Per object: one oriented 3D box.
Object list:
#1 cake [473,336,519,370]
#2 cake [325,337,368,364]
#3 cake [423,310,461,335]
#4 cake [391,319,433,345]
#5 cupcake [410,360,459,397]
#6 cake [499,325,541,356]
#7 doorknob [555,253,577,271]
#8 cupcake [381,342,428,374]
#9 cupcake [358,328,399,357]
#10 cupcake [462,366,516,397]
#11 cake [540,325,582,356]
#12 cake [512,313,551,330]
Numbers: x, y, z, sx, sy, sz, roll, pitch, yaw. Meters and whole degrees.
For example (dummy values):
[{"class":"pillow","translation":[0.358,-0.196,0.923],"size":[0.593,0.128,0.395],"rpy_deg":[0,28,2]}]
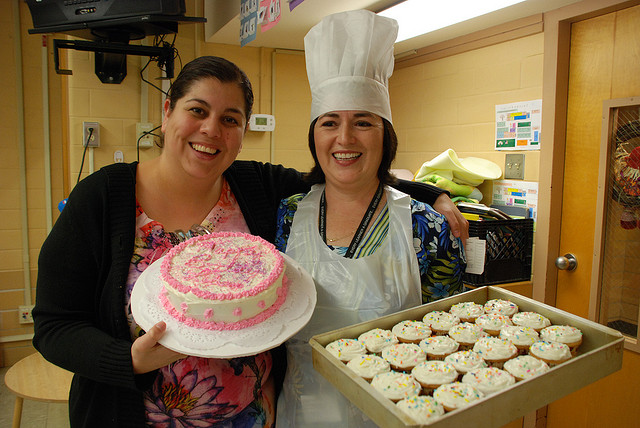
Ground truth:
[{"class":"cake","translation":[0.714,0.552,1.780],"size":[0.159,0.109,0.192],"rpy_deg":[-7,3,22]},{"class":"cake","translation":[0.107,0.526,1.718],"size":[0.163,0.055,0.173],"rpy_deg":[0,3,14]},{"class":"cake","translation":[0.511,0.448,1.842],"size":[0.099,0.038,0.093],"rpy_deg":[1,14,-8]},{"class":"cake","translation":[0.376,0.467,1.792],"size":[0.101,0.037,0.101],"rpy_deg":[-3,12,-1]},{"class":"cupcake","translation":[0.423,0.584,1.631],"size":[0.120,0.089,0.118],"rpy_deg":[0,0,25]},{"class":"cake","translation":[0.812,0.489,1.790],"size":[0.125,0.049,0.114],"rpy_deg":[8,18,39]},{"class":"doorknob","translation":[1.533,0.286,2.786],"size":[0.097,0.114,0.107],"rpy_deg":[1,7,-28]},{"class":"cupcake","translation":[0.324,0.530,1.713],"size":[0.106,0.103,0.153],"rpy_deg":[-2,9,-28]},{"class":"cupcake","translation":[0.234,0.512,1.781],"size":[0.163,0.067,0.187],"rpy_deg":[-5,0,24]},{"class":"cupcake","translation":[0.609,0.586,1.610],"size":[0.127,0.085,0.148],"rpy_deg":[-5,10,-32]},{"class":"cake","translation":[0.969,0.480,1.769],"size":[0.112,0.084,0.120],"rpy_deg":[-4,10,-7]},{"class":"cake","translation":[0.877,0.443,1.845],"size":[0.079,0.029,0.092],"rpy_deg":[-2,3,5]}]
